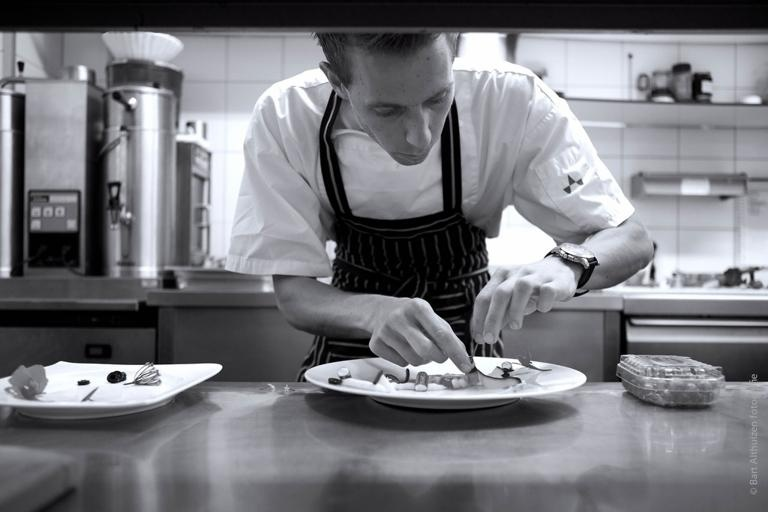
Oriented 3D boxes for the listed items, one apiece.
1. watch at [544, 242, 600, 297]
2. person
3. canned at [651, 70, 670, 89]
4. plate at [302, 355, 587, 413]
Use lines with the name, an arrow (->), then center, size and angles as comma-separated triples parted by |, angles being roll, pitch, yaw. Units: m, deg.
watch -> 0.420, 0.036, 1.900 | 0.098, 0.092, 0.064 | 16, 9, 19
person -> 0.120, -0.109, 2.028 | 0.809, 0.786, 0.668 | 3, 5, 41
canned -> 1.256, -0.795, 3.775 | 0.087, 0.095, 0.072 | 1, 5, 6
plate -> 0.123, 0.270, 1.790 | 0.581, 0.071, 0.268 | -1, 4, -8
